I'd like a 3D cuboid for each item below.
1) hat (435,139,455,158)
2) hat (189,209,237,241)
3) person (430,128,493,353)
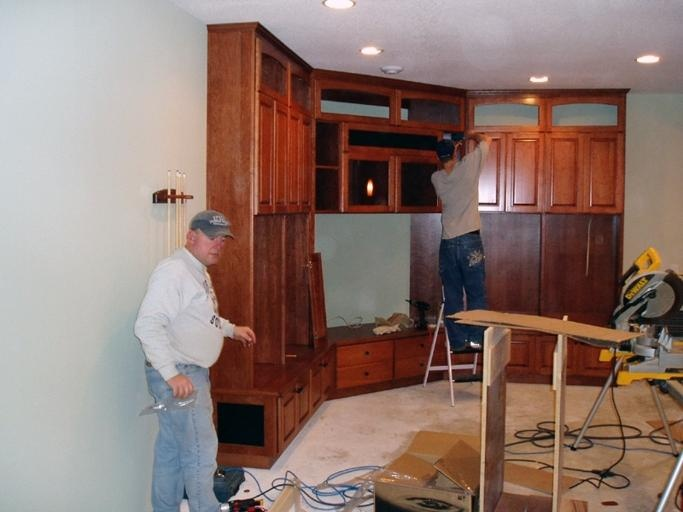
[{"bbox_3d":[1.051,-1.099,6.156,0.158,0.203,0.114,-6,-35,26],"label":"hat"},{"bbox_3d":[-0.803,-0.206,3.810,0.241,0.117,0.173,7,7,28],"label":"hat"},{"bbox_3d":[1.229,-0.145,6.203,0.507,2.212,0.869,-1,8,-4],"label":"person"}]
